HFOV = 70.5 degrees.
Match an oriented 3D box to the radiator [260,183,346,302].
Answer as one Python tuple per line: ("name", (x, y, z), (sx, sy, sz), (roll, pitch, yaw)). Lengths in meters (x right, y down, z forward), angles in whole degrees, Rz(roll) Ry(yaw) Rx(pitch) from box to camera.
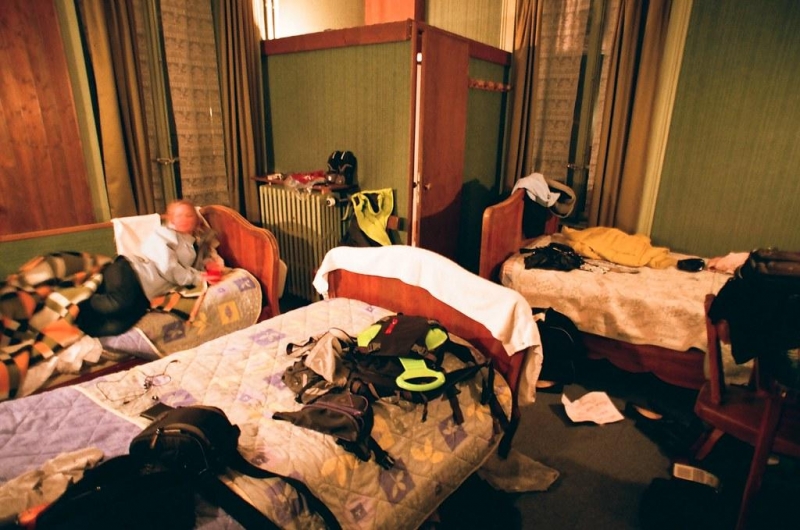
("radiator", (-0.912, -0.234, 5.390), (0.986, 1.015, 0.381), (14, 23, 31))

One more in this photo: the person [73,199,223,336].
("person", (-2.145, 0.002, 4.581), (0.591, 0.587, 1.443), (10, 28, 41))

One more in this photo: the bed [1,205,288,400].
("bed", (-2.073, 0.436, 4.675), (1.246, 1.098, 1.791), (20, 31, 34))

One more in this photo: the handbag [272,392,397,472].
("handbag", (-0.451, 0.948, 3.361), (0.642, 0.194, 0.645), (14, 9, 5))

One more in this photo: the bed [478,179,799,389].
("bed", (1.926, 0.129, 4.870), (1.957, 1.270, 1.415), (25, 38, 37))
